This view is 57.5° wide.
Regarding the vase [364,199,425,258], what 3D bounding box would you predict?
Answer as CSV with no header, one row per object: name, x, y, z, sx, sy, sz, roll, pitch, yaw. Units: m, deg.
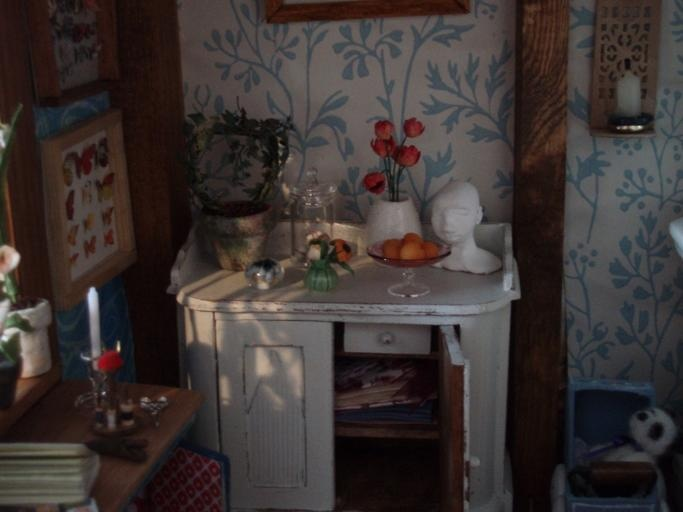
vase,0.209,-0.100,2.132,0.193,0.200,0.191,-7,10,-44

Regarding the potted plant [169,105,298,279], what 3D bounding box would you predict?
potted plant,-0.365,-0.216,2.096,0.441,0.649,0.333,3,17,8

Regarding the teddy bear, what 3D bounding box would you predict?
teddy bear,0.939,0.589,2.043,0.295,0.180,0.077,0,7,24

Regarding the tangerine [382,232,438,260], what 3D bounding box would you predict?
tangerine,0.209,-0.029,1.880,0.168,0.068,0.120,-4,7,-5

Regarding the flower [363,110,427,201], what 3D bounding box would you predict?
flower,0.182,-0.312,2.078,0.199,0.257,0.280,-2,6,8

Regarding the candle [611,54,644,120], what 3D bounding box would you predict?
candle,0.919,-0.536,1.993,0.078,0.193,0.113,0,7,26
